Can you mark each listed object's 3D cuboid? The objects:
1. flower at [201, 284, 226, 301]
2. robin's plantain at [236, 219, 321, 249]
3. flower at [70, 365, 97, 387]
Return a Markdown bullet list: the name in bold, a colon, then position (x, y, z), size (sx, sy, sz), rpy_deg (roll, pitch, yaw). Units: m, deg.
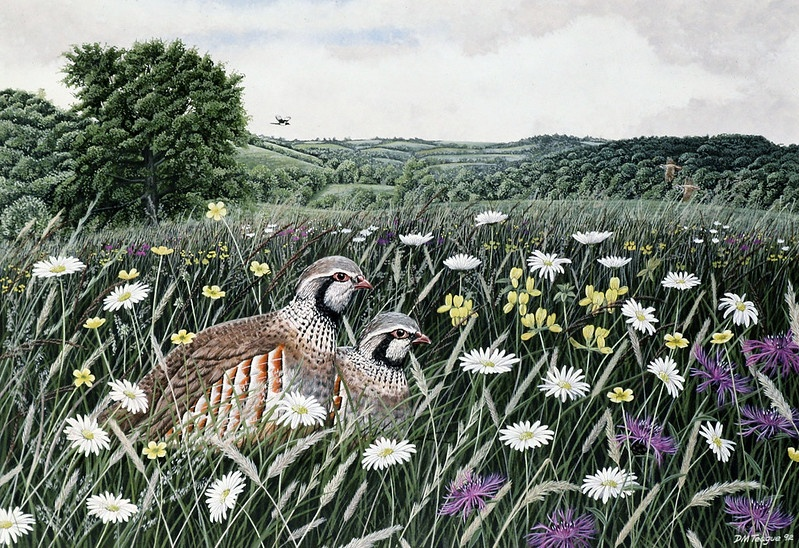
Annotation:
- **flower**: position (-1.092, 0.124, 3.587), size (0.101, 0.031, 0.113), rpy_deg (11, 41, -2)
- **robin's plantain**: position (-0.796, -0.302, 4.396), size (0.327, 0.141, 0.352), rpy_deg (-23, 7, -4)
- **flower**: position (-1.703, 0.556, 3.305), size (0.103, 0.124, 0.034), rpy_deg (5, 0, -12)
